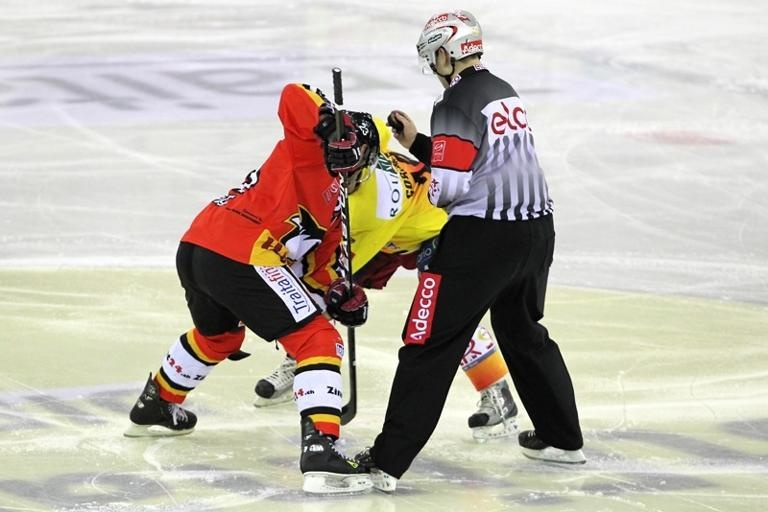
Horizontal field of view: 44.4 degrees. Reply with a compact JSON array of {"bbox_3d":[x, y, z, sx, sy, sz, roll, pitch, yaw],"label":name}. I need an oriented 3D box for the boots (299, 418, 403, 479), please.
[{"bbox_3d":[-0.268,1.005,4.909,0.374,0.298,0.185,3,17,4],"label":"boots"}]

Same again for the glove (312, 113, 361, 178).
[{"bbox_3d":[-0.249,-0.607,5.058,0.236,0.364,0.218,4,17,3],"label":"glove"}]

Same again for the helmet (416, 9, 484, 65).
[{"bbox_3d":[0.441,-1.206,5.210,0.396,0.269,0.319,20,31,32],"label":"helmet"}]

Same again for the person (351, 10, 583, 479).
[{"bbox_3d":[0.582,-0.057,5.117,1.224,2.477,0.964,0,19,-9],"label":"person"}]

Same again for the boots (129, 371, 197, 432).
[{"bbox_3d":[-1.318,0.902,5.587,0.202,0.272,0.499,3,-16,40],"label":"boots"}]
